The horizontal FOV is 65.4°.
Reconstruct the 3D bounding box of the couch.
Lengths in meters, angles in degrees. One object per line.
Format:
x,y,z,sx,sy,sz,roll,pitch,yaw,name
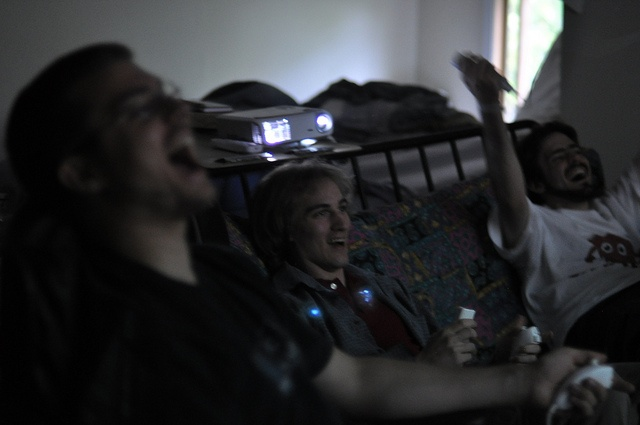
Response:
0.110,0.045,0.943,0.378,0.341,0.518,-28,20,-15,couch
